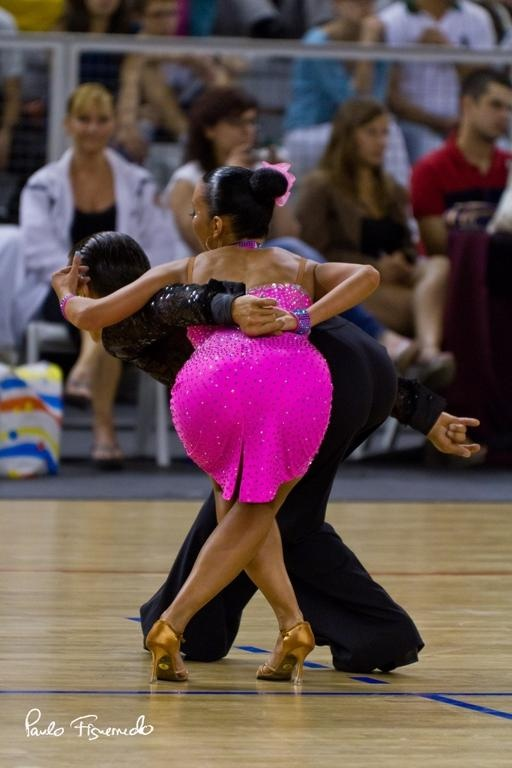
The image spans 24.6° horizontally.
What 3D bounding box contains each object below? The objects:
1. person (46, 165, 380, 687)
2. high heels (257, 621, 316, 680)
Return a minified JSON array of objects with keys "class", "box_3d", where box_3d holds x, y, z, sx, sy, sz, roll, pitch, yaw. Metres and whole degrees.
[{"class":"person","box_3d":[-0.049,0.075,1.702,0.439,0.702,0.519,-1,32,-15]},{"class":"high heels","box_3d":[0.039,0.381,1.675,0.053,0.112,0.077,20,66,-33]}]
